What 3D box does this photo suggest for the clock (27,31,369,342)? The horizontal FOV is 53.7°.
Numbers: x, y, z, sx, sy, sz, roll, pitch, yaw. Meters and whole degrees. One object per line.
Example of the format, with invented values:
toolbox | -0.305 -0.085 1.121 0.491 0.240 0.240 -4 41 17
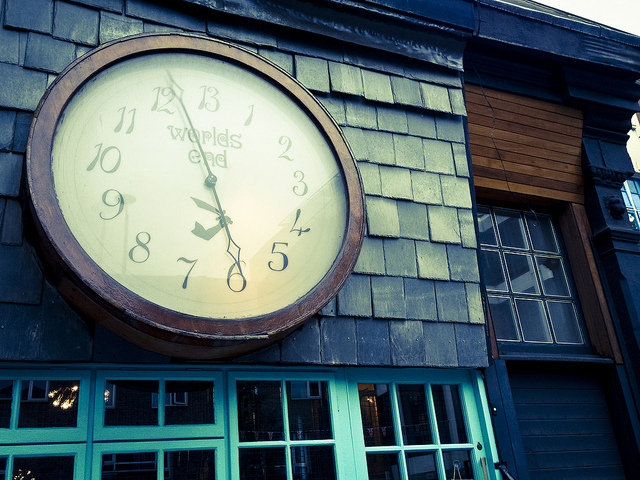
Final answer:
clock | -0.510 -0.235 2.852 1.503 1.433 0.214 3 -20 -30
